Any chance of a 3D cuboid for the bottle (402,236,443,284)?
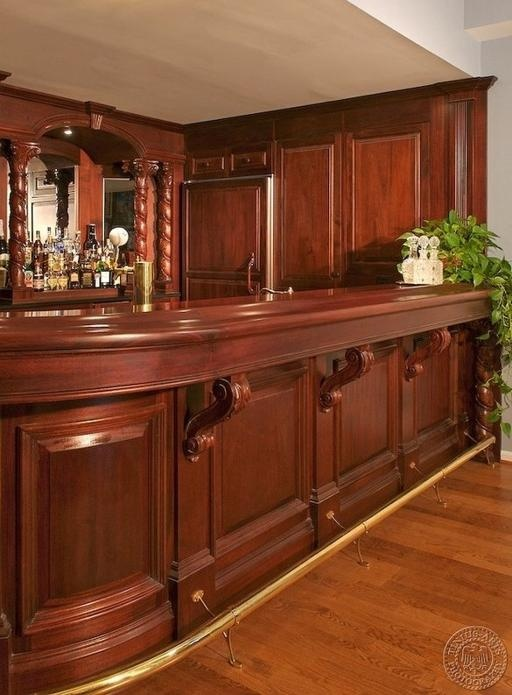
[{"bbox_3d":[0.893,-0.471,3.012,0.203,0.273,0.250,1,3,14],"label":"bottle"}]
